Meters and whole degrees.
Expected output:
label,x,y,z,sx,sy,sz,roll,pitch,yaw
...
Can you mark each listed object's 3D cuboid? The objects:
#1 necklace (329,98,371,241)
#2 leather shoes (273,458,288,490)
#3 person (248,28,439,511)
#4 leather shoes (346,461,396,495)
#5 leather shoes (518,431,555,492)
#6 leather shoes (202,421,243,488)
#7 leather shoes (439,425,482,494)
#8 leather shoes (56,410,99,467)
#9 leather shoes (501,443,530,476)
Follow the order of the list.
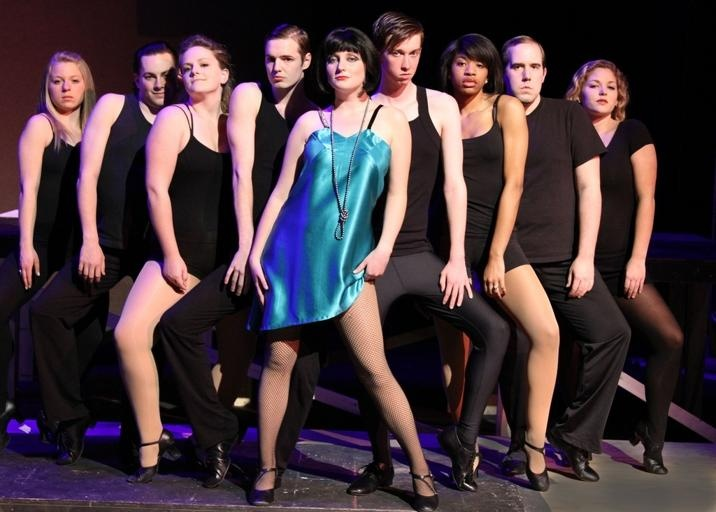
label,x,y,z,sx,sy,sz,roll,pitch,yaw
necklace,-0.067,-0.358,3.376,0.169,0.559,0.049,5,-2,6
leather shoes,-0.366,1.012,3.522,0.093,0.116,0.275,0,-17,-2
person,-0.063,0.053,3.387,0.879,2.096,0.301,2,7,4
leather shoes,0.062,1.046,3.583,0.261,0.115,0.091,4,-4,-45
leather shoes,0.855,0.994,3.649,0.085,0.287,0.122,-11,-16,18
leather shoes,-0.654,0.968,3.678,0.120,0.239,0.341,3,4,11
leather shoes,0.492,0.938,3.597,0.153,0.370,0.134,-10,8,34
leather shoes,-1.442,0.881,3.810,0.208,0.306,0.097,26,-19,-37
leather shoes,0.786,1.013,3.770,0.130,0.147,0.372,-2,-11,9
